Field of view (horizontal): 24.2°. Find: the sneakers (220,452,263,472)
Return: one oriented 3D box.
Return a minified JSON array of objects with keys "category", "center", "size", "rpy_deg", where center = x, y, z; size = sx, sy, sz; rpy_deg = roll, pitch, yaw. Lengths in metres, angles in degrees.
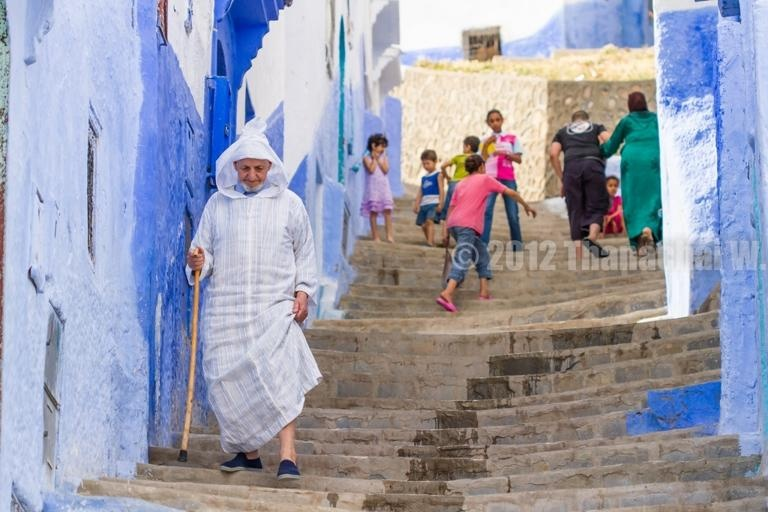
[{"category":"sneakers","center":[-0.941,1.371,11.889],"size":[0.282,0.123,0.111],"rpy_deg":[7,-10,-20]}]

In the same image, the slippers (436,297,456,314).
[{"category":"slippers","center":[0.567,0.412,15.873],"size":[0.072,0.222,0.088],"rpy_deg":[-41,-4,-24]}]

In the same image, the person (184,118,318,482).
[{"category":"person","center":[-0.861,0.237,12.064],"size":[0.878,2.377,0.660],"rpy_deg":[0,1,-6]}]

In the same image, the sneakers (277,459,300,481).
[{"category":"sneakers","center":[-0.622,1.405,11.750],"size":[0.111,0.098,0.234],"rpy_deg":[-1,-7,4]}]

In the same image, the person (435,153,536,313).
[{"category":"person","center":[0.806,-0.226,16.161],"size":[0.609,1.423,0.964],"rpy_deg":[1,1,43]}]

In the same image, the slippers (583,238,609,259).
[{"category":"slippers","center":[1.948,-0.060,16.483],"size":[0.309,0.114,0.108],"rpy_deg":[35,5,-42]}]

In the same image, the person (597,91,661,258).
[{"category":"person","center":[2.202,-0.757,15.609],"size":[0.409,1.448,0.983],"rpy_deg":[0,1,4]}]

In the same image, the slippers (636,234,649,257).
[{"category":"slippers","center":[2.260,-0.102,15.618],"size":[0.075,0.157,0.228],"rpy_deg":[0,-35,5]}]

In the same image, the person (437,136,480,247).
[{"category":"person","center":[0.770,-0.687,18.356],"size":[0.466,1.149,0.360],"rpy_deg":[10,-11,7]}]
